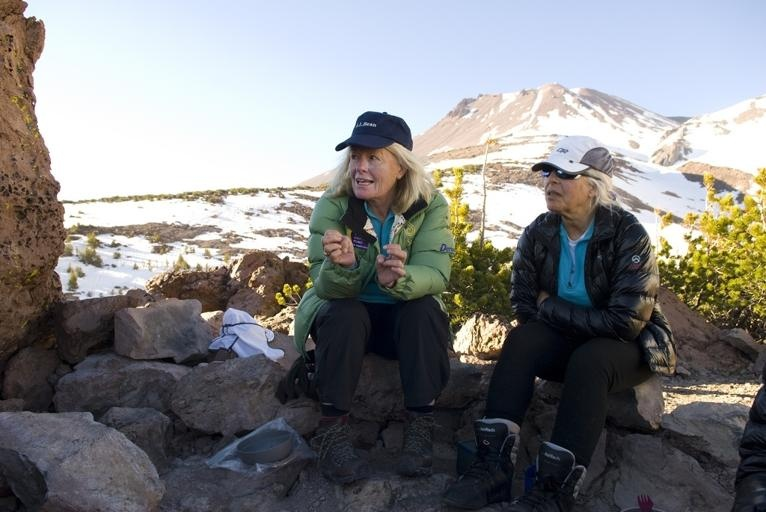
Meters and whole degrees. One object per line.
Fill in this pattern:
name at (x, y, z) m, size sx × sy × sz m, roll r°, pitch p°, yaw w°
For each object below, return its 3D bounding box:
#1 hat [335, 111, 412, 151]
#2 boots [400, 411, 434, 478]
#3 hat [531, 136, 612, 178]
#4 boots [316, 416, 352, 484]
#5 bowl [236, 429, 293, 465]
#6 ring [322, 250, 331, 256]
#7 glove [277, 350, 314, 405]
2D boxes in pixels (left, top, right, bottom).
hat at (-0.042, -1.129, 4.370) m, size 0.506 × 0.408 × 0.725 m, roll 10°, pitch 11°, yaw 41°
boots at (0.286, 1.514, 3.896) m, size 0.262 × 0.451 × 0.266 m, roll 6°, pitch 2°, yaw 7°
hat at (1.698, -0.876, 4.257) m, size 0.709 × 0.359 × 0.489 m, roll 3°, pitch 9°, yaw -28°
boots at (-0.372, 1.549, 3.874) m, size 0.237 × 0.431 × 0.467 m, roll 5°, pitch 2°, yaw -37°
bowl at (-0.960, 1.560, 3.959) m, size 0.470 × 0.206 × 0.259 m, roll 6°, pitch 1°, yaw -2°
ring at (-0.463, -0.028, 3.954) m, size 0.039 × 0.045 × 0.047 m, roll -5°, pitch -33°, yaw 10°
glove at (-0.784, 1.149, 4.461) m, size 0.197 × 0.522 × 0.384 m, roll 33°, pitch -41°, yaw -24°
